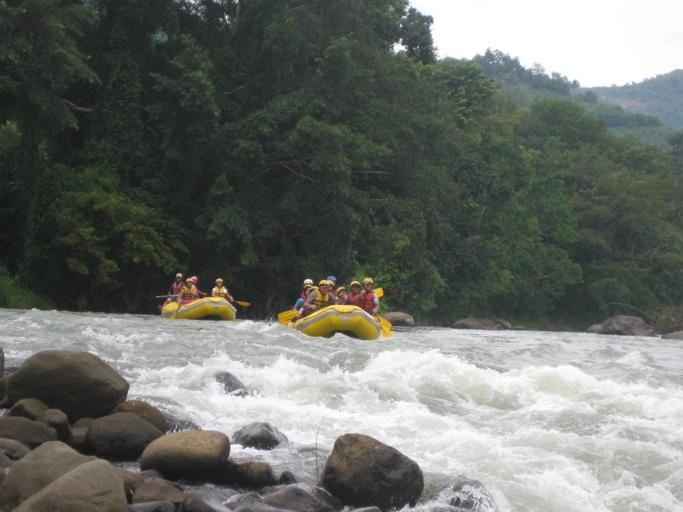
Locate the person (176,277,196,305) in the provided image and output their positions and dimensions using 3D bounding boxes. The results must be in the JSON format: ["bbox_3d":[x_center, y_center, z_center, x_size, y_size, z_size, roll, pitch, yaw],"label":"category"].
[{"bbox_3d":[-5.409,1.254,29.481,0.608,0.783,0.518,8,19,-22],"label":"person"}]

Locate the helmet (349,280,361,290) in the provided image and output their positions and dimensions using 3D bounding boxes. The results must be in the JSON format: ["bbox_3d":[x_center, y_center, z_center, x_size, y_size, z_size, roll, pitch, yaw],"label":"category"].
[{"bbox_3d":[0.467,0.999,29.008,0.307,0.220,0.461,-1,-13,-2],"label":"helmet"}]

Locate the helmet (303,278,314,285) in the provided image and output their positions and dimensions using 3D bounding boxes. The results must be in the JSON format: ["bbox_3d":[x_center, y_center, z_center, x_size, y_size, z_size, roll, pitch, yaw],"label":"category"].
[{"bbox_3d":[-0.987,0.801,25.420,0.226,0.158,0.271,0,-6,0],"label":"helmet"}]

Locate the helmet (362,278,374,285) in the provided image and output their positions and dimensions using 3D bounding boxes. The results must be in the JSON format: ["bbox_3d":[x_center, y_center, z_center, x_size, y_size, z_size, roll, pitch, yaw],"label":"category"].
[{"bbox_3d":[0.908,0.867,28.751,0.284,0.167,0.424,7,1,6],"label":"helmet"}]

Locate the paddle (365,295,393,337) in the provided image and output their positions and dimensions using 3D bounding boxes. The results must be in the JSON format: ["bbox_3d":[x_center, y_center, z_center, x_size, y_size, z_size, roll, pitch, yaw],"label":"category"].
[{"bbox_3d":[1.165,1.783,25.484,0.498,1.493,0.252,-5,-19,-44],"label":"paddle"}]

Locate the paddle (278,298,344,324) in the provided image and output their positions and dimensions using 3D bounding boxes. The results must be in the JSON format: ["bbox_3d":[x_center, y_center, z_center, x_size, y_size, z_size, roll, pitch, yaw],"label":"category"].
[{"bbox_3d":[-0.844,1.631,24.749,0.703,0.556,1.169,9,-27,-32],"label":"paddle"}]

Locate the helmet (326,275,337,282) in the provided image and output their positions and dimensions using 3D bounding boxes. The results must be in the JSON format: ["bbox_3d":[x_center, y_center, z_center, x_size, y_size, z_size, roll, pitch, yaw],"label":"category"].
[{"bbox_3d":[-0.307,0.662,25.825,0.280,0.285,0.227,-14,-11,35],"label":"helmet"}]

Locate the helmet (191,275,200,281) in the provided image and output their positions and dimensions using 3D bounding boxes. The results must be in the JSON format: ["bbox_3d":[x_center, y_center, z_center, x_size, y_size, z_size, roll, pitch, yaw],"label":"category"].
[{"bbox_3d":[-5.566,0.845,32.216,0.159,0.179,0.376,-9,-11,-7],"label":"helmet"}]

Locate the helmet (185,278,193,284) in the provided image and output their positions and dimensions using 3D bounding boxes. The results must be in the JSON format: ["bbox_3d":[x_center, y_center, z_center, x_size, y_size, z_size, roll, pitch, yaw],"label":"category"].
[{"bbox_3d":[-5.230,0.826,29.151,0.182,0.212,0.262,-4,-15,-17],"label":"helmet"}]

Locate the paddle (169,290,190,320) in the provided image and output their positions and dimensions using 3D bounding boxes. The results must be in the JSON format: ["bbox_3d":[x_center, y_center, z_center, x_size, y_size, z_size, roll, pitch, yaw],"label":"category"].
[{"bbox_3d":[-5.508,1.600,28.702,0.613,0.409,1.166,9,17,-2],"label":"paddle"}]
